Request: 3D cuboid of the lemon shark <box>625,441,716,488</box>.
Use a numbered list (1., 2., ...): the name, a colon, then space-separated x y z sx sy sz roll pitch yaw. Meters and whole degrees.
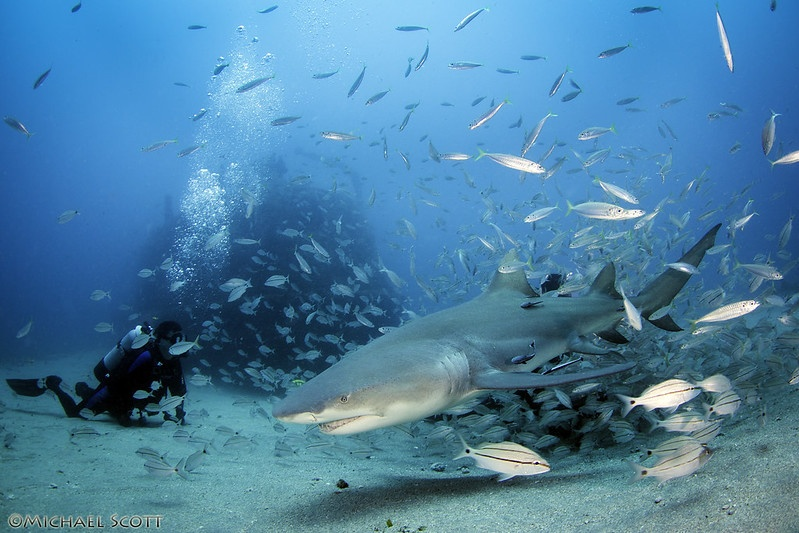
1. lemon shark: 5.690 4.117 12.584 1.890 0.414 0.642 -32 33 36
